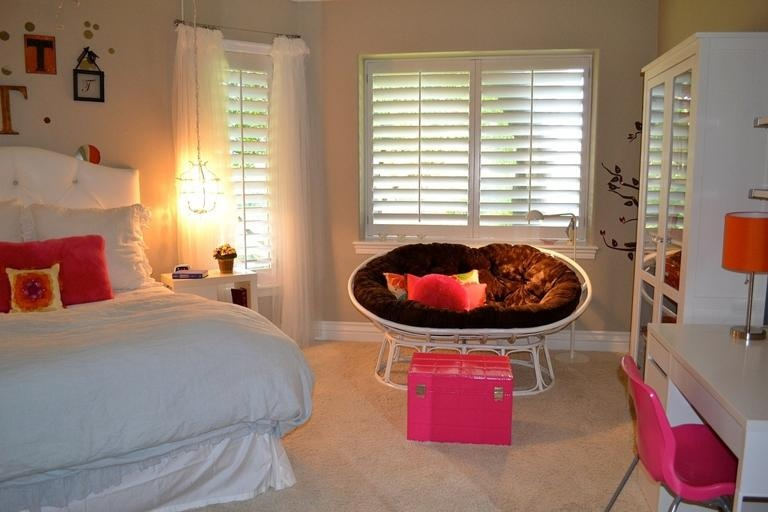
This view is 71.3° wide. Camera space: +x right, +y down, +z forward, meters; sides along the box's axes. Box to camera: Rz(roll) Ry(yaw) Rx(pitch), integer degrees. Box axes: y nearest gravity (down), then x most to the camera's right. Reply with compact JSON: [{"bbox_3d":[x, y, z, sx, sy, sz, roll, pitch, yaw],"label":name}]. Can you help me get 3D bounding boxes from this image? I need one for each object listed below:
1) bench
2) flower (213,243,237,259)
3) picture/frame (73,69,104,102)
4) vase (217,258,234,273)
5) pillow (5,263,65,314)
[{"bbox_3d":[0.729,0.620,4.354,1.746,0.797,1.158,0,10,4],"label":"bench"},{"bbox_3d":[-1.344,-0.043,4.540,0.142,0.083,0.144,5,5,21],"label":"flower"},{"bbox_3d":[-2.363,-1.365,4.280,0.277,0.294,0.024,-2,5,-35],"label":"picture/frame"},{"bbox_3d":[-1.319,0.080,4.514,0.133,0.111,0.121,-1,-1,-17],"label":"vase"},{"bbox_3d":[-2.240,0.215,3.449,0.284,0.279,0.077,2,-15,-34],"label":"pillow"}]
